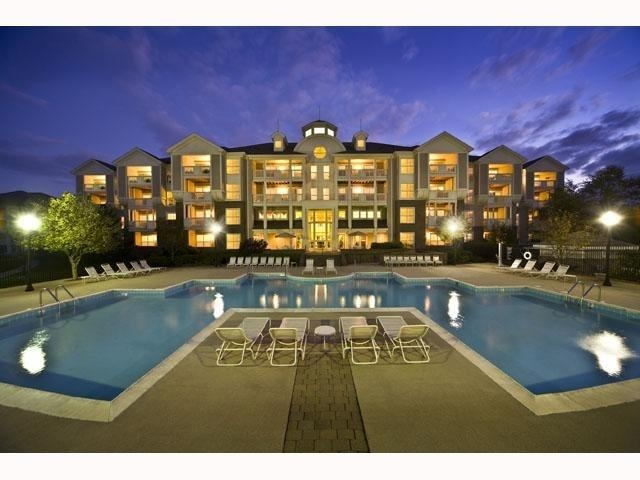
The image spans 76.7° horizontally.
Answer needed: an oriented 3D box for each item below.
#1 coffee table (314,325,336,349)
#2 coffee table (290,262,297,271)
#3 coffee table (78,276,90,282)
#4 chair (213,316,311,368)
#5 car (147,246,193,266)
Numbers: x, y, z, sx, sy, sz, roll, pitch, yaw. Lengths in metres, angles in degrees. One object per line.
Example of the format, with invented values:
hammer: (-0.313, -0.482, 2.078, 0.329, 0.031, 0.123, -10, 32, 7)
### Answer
coffee table: (0.176, 3.423, 14.540, 0.696, 0.509, 0.685, 0, -4, 1)
coffee table: (-2.256, 2.053, 33.393, 0.440, 0.728, 0.558, 2, -14, -20)
coffee table: (-14.683, 2.319, 25.007, 0.484, 0.316, 0.452, 0, 1, 4)
chair: (-2.048, 3.392, 14.482, 3.147, 1.230, 2.761, -2, 5, -1)
car: (-12.684, 1.326, 34.434, 2.055, 1.369, 2.595, 2, -3, -14)
